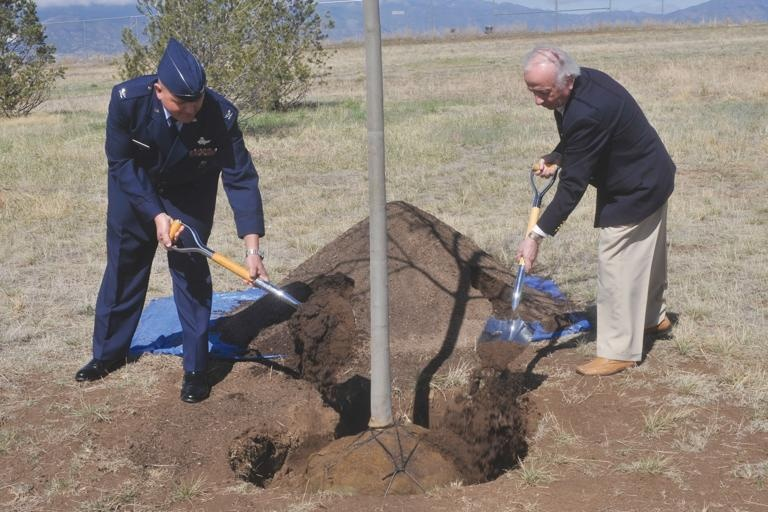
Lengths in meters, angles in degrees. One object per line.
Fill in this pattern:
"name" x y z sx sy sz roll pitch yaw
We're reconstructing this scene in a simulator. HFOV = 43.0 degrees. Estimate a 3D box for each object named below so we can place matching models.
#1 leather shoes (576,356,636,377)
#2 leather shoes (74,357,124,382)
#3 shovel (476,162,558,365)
"leather shoes" 2.368 1.189 10.582 0.449 0.104 0.267 -2 12 8
"leather shoes" -3.117 1.235 10.643 0.531 0.247 0.193 -9 15 -39
"shovel" 1.458 0.221 10.185 0.574 2.785 0.210 -13 46 -21
